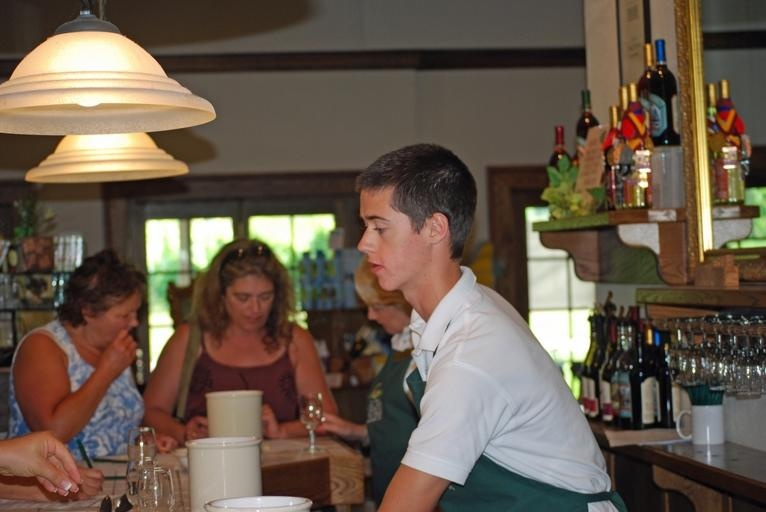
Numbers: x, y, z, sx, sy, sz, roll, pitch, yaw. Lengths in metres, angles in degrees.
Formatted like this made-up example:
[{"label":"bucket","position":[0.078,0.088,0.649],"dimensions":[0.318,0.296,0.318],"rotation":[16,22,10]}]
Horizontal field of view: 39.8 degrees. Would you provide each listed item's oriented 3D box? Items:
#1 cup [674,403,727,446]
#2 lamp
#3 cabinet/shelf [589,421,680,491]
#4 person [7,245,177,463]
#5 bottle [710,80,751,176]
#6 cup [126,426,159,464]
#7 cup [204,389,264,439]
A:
[{"label":"cup","position":[1.447,0.780,4.807],"dimensions":[0.219,0.183,0.148],"rotation":[-4,-3,18]},{"label":"lamp","position":[-1.228,-0.792,5.237],"dimensions":[0.804,0.963,0.837],"rotation":[-2,0,4]},{"label":"cabinet/shelf","position":[1.189,0.924,5.027],"dimensions":[0.342,0.344,0.340],"rotation":[0,-5,-11]},{"label":"person","position":[-1.478,0.472,5.133],"dimensions":[0.650,1.009,0.361],"rotation":[-1,-3,-21]},{"label":"bottle","position":[1.558,-0.571,4.749],"dimensions":[0.174,0.435,0.045],"rotation":[-3,-3,19]},{"label":"cup","position":[-1.002,0.787,4.394],"dimensions":[0.117,0.195,0.129],"rotation":[-2,0,0]},{"label":"cup","position":[-0.645,0.699,4.624],"dimensions":[0.221,0.245,0.227],"rotation":[1,-1,0]}]
